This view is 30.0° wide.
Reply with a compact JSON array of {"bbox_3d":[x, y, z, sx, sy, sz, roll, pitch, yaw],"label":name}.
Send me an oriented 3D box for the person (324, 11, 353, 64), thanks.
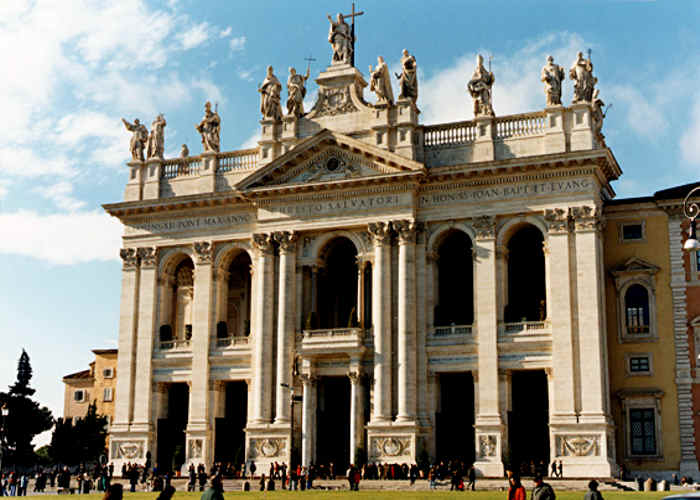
[{"bbox_3d":[-0.675,-15.432,97.505,1.492,3.865,1.041,-3,-19,8],"label":"person"}]
